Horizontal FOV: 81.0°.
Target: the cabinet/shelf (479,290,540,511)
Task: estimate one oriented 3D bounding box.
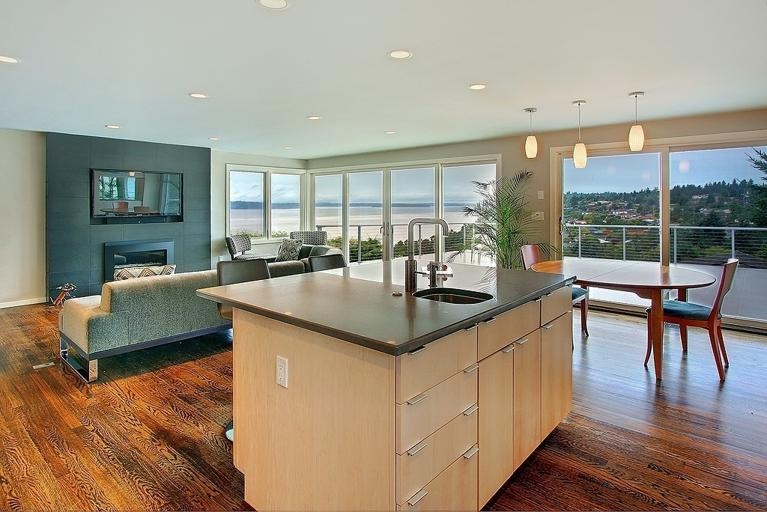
[{"bbox_3d":[0.854,0.948,3.029,0.247,1.160,0.896,10,17,37],"label":"cabinet/shelf"}]

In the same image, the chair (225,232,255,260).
[{"bbox_3d":[-2.825,-0.186,8.848,0.567,0.667,0.536,5,6,30],"label":"chair"}]

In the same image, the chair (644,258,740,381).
[{"bbox_3d":[3.175,0.569,4.512,0.615,1.133,0.663,9,17,37],"label":"chair"}]

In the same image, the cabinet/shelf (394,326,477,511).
[{"bbox_3d":[0.308,1.026,2.593,0.679,1.075,0.231,-13,18,-41],"label":"cabinet/shelf"}]

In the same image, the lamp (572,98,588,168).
[{"bbox_3d":[2.585,-1.527,5.882,0.220,0.784,1.611,5,13,23],"label":"lamp"}]

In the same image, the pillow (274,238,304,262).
[{"bbox_3d":[-1.642,-0.114,7.970,0.462,0.426,0.214,-6,-28,36],"label":"pillow"}]
